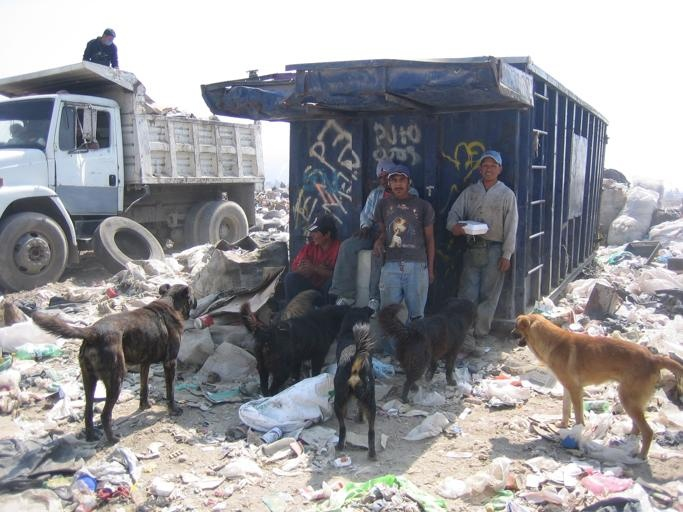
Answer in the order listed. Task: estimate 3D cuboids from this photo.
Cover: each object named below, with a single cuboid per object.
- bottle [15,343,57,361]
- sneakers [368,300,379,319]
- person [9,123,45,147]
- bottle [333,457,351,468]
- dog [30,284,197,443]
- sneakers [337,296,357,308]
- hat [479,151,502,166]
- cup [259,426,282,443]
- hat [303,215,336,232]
[{"bbox_3d":[-3.689,1.160,6.811,0.228,0.125,0.293,14,9,39],"label":"bottle"},{"bbox_3d":[0.448,0.648,7.143,0.146,0.283,0.144,-1,6,-3],"label":"sneakers"},{"bbox_3d":[-5.487,-2.118,9.687,0.789,0.463,0.268,3,6,24],"label":"person"},{"bbox_3d":[0.008,1.816,4.950,0.091,0.030,0.079,-6,15,-30],"label":"bottle"},{"bbox_3d":[-2.029,1.015,5.301,0.505,1.323,1.592,3,6,25],"label":"dog"},{"bbox_3d":[0.067,0.585,7.242,0.224,0.138,0.136,7,-2,-10],"label":"sneakers"},{"bbox_3d":[1.938,-1.271,7.179,0.234,0.236,0.487,3,6,21],"label":"hat"},{"bbox_3d":[-0.656,1.664,5.232,0.119,0.119,0.175,-18,2,38],"label":"cup"},{"bbox_3d":[-0.262,-0.446,7.638,0.349,0.203,0.225,0,3,-13],"label":"hat"}]
